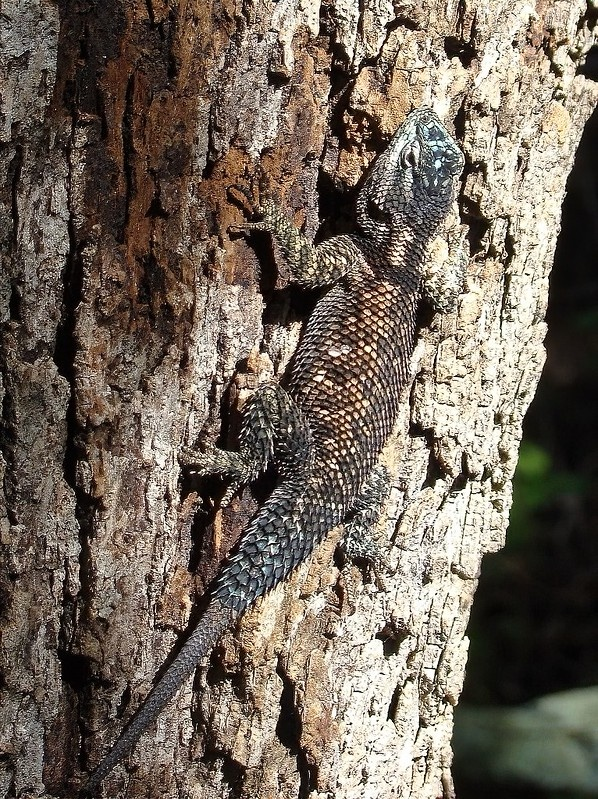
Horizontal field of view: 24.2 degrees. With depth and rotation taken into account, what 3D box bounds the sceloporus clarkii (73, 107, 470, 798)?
[{"bbox_3d":[-0.074,0.051,3.729,0.694,1.985,0.305,28,-13,-28],"label":"sceloporus clarkii"}]
